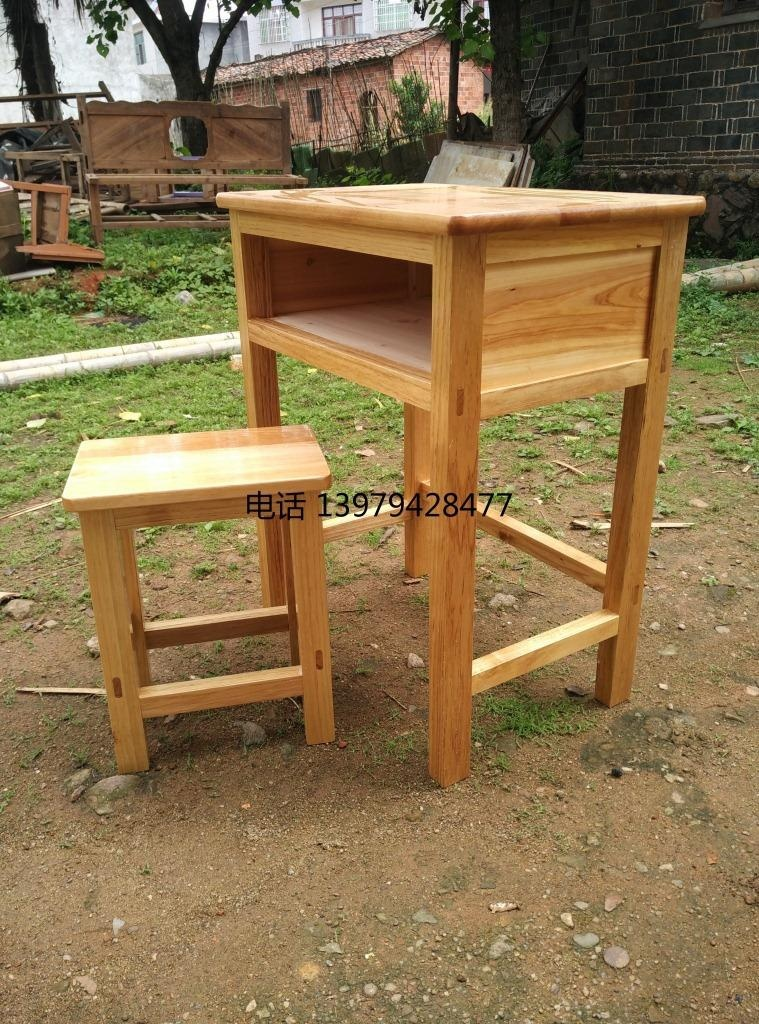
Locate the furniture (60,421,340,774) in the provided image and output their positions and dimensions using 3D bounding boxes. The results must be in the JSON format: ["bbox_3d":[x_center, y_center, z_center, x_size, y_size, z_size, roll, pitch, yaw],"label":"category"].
[{"bbox_3d":[-0.414,0.165,1.852,0.567,0.505,0.562,-17,-12,32],"label":"furniture"}]

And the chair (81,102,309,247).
[{"bbox_3d":[-2.105,-3.695,8.681,2.294,1.332,0.904,-3,29,-6],"label":"chair"}]

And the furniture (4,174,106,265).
[{"bbox_3d":[-3.128,-2.671,7.365,0.639,0.752,1.049,-19,26,-35],"label":"furniture"}]
